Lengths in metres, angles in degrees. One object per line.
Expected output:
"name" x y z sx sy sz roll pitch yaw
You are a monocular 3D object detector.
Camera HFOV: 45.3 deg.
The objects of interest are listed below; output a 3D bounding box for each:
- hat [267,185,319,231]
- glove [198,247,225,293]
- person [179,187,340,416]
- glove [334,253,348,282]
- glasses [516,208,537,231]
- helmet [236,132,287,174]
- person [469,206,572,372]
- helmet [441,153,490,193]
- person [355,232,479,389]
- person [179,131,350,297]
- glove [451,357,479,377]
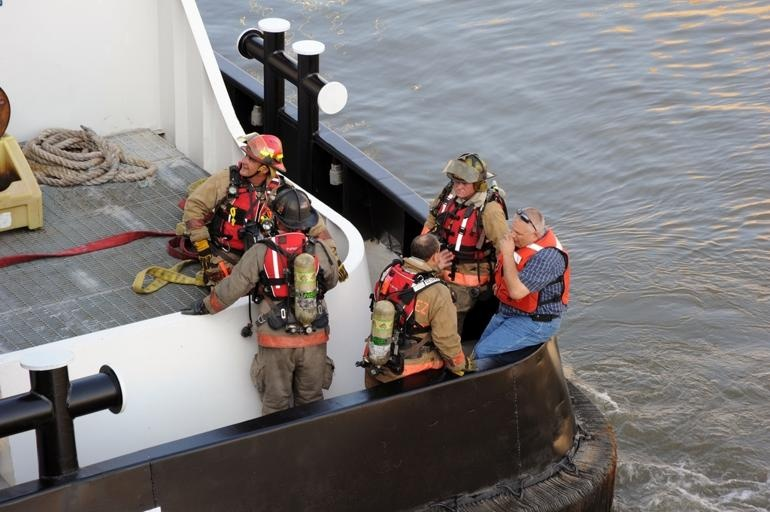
"hat" -0.834 -0.478 8.234 0.418 0.247 0.542 -10 36 -31
"glove" -1.687 0.125 8.816 0.178 0.382 0.274 24 78 -22
"person" -0.869 0.487 8.359 1.256 1.824 1.170 -19 50 -25
"glove" -0.413 0.131 8.630 0.135 0.212 0.149 -6 88 -7
"glasses" 1.346 -0.361 8.750 0.058 0.197 0.184 -51 34 -2
"helmet" -1.166 -0.970 8.854 0.420 0.410 0.360 15 44 7
"person" 1.292 0.356 9.077 0.899 2.121 0.826 -6 50 -12
"helmet" 0.841 -0.842 9.211 0.412 0.361 0.362 18 44 11
"person" 0.233 0.637 8.320 0.951 1.307 1.010 -5 45 -13
"person" -1.249 -0.453 8.977 1.641 1.323 0.915 6 17 -9
"glove" 0.725 0.979 8.213 0.141 0.085 0.216 2 23 40
